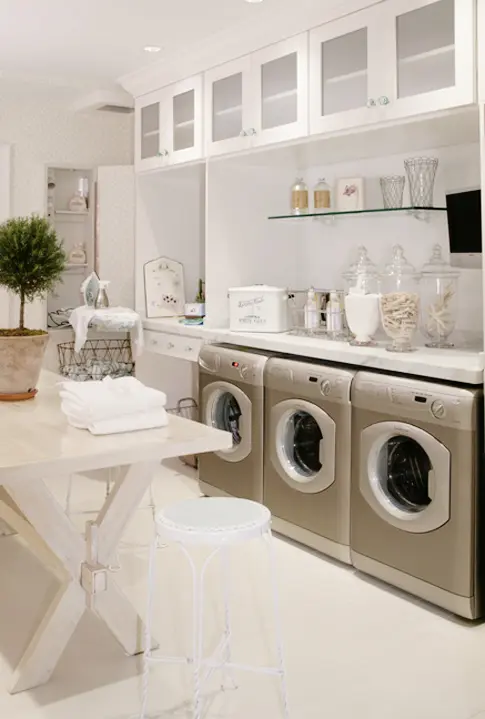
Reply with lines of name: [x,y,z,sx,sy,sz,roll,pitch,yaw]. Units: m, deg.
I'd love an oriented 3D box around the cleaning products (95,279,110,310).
cleaning products: [-1.016,-0.470,4.031,0.161,0.200,0.150,3,3,2]

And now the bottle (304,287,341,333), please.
bottle: [0.402,-0.250,2.772,0.188,0.230,0.206,-2,9,-20]

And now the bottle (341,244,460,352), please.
bottle: [0.689,-0.251,2.371,0.173,0.431,0.487,0,2,-37]

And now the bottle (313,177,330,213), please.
bottle: [0.420,-0.871,2.939,0.091,0.185,0.171,0,10,8]

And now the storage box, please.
storage box: [0.087,-0.276,3.040,0.271,0.224,0.276,4,5,35]

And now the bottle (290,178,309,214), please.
bottle: [0.297,-0.876,2.984,0.092,0.185,0.099,-2,10,0]

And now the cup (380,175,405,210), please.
cup: [0.676,-0.759,2.510,0.096,0.141,0.102,-2,10,0]

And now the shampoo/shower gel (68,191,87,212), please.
shampoo/shower gel: [-1.714,-1.620,5.746,0.181,0.163,0.107,-5,11,-17]

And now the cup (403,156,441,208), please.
cup: [0.755,-0.741,2.332,0.123,0.216,0.211,0,10,9]

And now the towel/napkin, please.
towel/napkin: [-0.353,0.117,1.482,0.231,0.099,0.321,-9,13,-34]

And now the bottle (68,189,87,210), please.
bottle: [-1.706,-1.641,5.728,0.139,0.205,0.059,-1,0,12]
